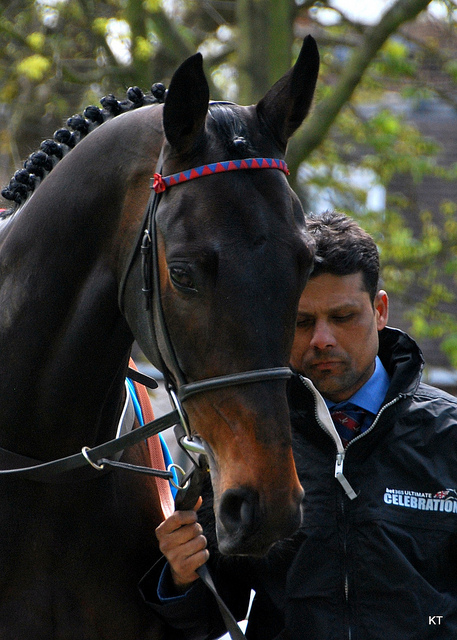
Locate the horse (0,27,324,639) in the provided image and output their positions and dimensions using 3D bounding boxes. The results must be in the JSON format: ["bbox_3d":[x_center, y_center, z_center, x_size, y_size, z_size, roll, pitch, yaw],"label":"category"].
[{"bbox_3d":[-0.205,0.107,2.632,0.903,1.539,0.501,-5,0,35],"label":"horse"}]

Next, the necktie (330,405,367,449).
[{"bbox_3d":[0.362,0.326,3.122,0.099,0.110,0.040,-1,2,10],"label":"necktie"}]

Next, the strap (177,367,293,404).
[{"bbox_3d":[-0.010,0.152,2.403,0.293,0.077,0.111,-4,-1,31],"label":"strap"}]

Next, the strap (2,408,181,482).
[{"bbox_3d":[-0.380,0.328,2.718,0.522,0.069,0.061,-21,-47,15],"label":"strap"}]
